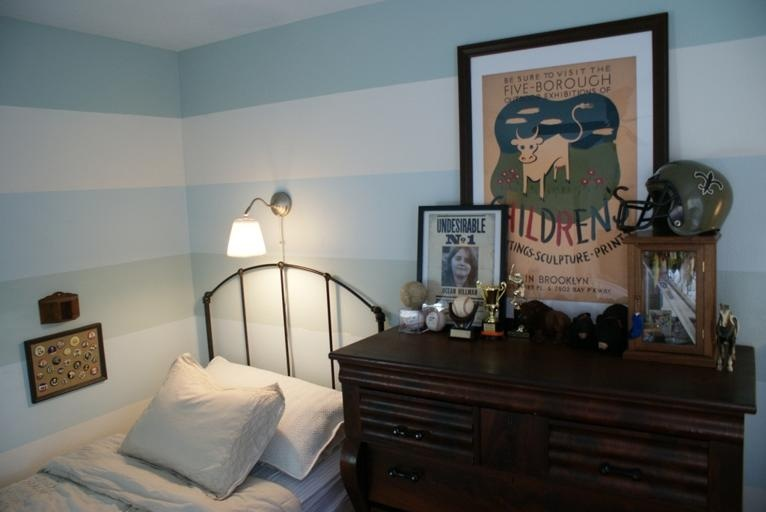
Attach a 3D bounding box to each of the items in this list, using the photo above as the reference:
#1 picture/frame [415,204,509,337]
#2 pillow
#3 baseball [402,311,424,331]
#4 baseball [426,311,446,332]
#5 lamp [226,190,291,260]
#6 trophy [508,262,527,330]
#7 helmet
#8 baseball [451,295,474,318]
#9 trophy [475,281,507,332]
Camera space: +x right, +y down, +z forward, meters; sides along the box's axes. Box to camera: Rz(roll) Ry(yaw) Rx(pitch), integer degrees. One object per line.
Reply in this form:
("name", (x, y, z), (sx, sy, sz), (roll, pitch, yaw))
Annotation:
("picture/frame", (0.414, 0.079, 2.585), (0.602, 0.836, 0.037), (1, 3, 22))
("pillow", (-0.688, 0.816, 2.582), (0.785, 0.281, 0.599), (8, 20, 29))
("baseball", (0.154, 0.309, 2.628), (0.097, 0.096, 0.099), (8, 27, 18))
("baseball", (0.263, 0.317, 2.552), (0.092, 0.098, 0.095), (0, 7, 11))
("lamp", (-0.738, -0.182, 3.089), (0.345, 0.420, 0.315), (0, 4, 18))
("trophy", (0.665, 0.196, 2.520), (0.099, 0.290, 0.090), (5, 6, 38))
("helmet", (1.210, -0.241, 2.203), (0.438, 0.288, 0.307), (1, 8, 31))
("baseball", (0.379, 0.241, 2.501), (0.096, 0.097, 0.094), (12, -4, -41))
("trophy", (0.527, 0.259, 2.481), (0.150, 0.251, 0.090), (-1, 1, 31))
